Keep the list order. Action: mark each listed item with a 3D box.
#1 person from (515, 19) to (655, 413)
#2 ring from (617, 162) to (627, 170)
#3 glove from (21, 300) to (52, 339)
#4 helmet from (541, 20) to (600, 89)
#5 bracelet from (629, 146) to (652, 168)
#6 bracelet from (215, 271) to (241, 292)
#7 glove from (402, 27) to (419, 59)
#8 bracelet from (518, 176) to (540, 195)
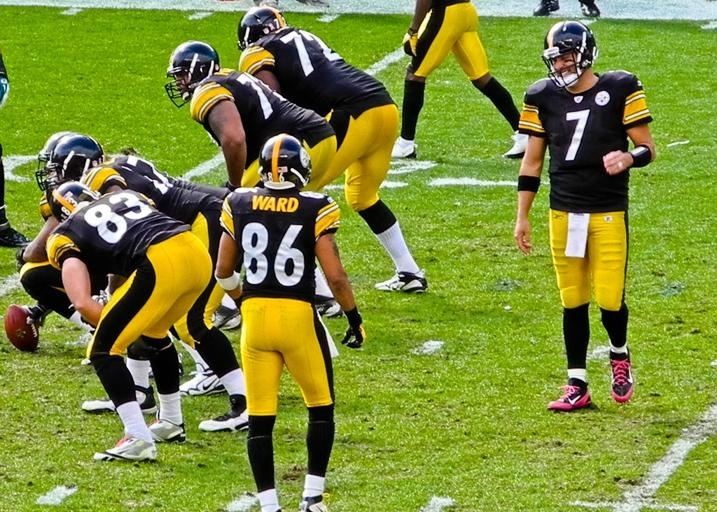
[{"bbox_3d":[1.325,-0.235,6.122,0.794,2.244,0.603,2,15,17],"label":"person"},{"bbox_3d":[1.521,-0.517,5.923,0.035,0.031,0.063,2,31,-1],"label":"ring"},{"bbox_3d":[-2.121,0.390,6.801,0.158,0.082,0.302,-36,1,-9],"label":"glove"},{"bbox_3d":[1.264,-1.204,6.152,0.310,0.380,0.256,1,14,10],"label":"helmet"},{"bbox_3d":[1.669,-0.581,6.036,0.117,0.130,0.197,2,14,15],"label":"bracelet"},{"bbox_3d":[-0.747,0.111,5.831,0.113,0.115,0.119,40,68,16],"label":"bracelet"},{"bbox_3d":[0.465,-1.890,9.165,0.091,0.195,0.161,14,17,0],"label":"glove"},{"bbox_3d":[1.055,-0.438,6.365,0.118,0.084,0.112,0,3,-32],"label":"bracelet"}]
